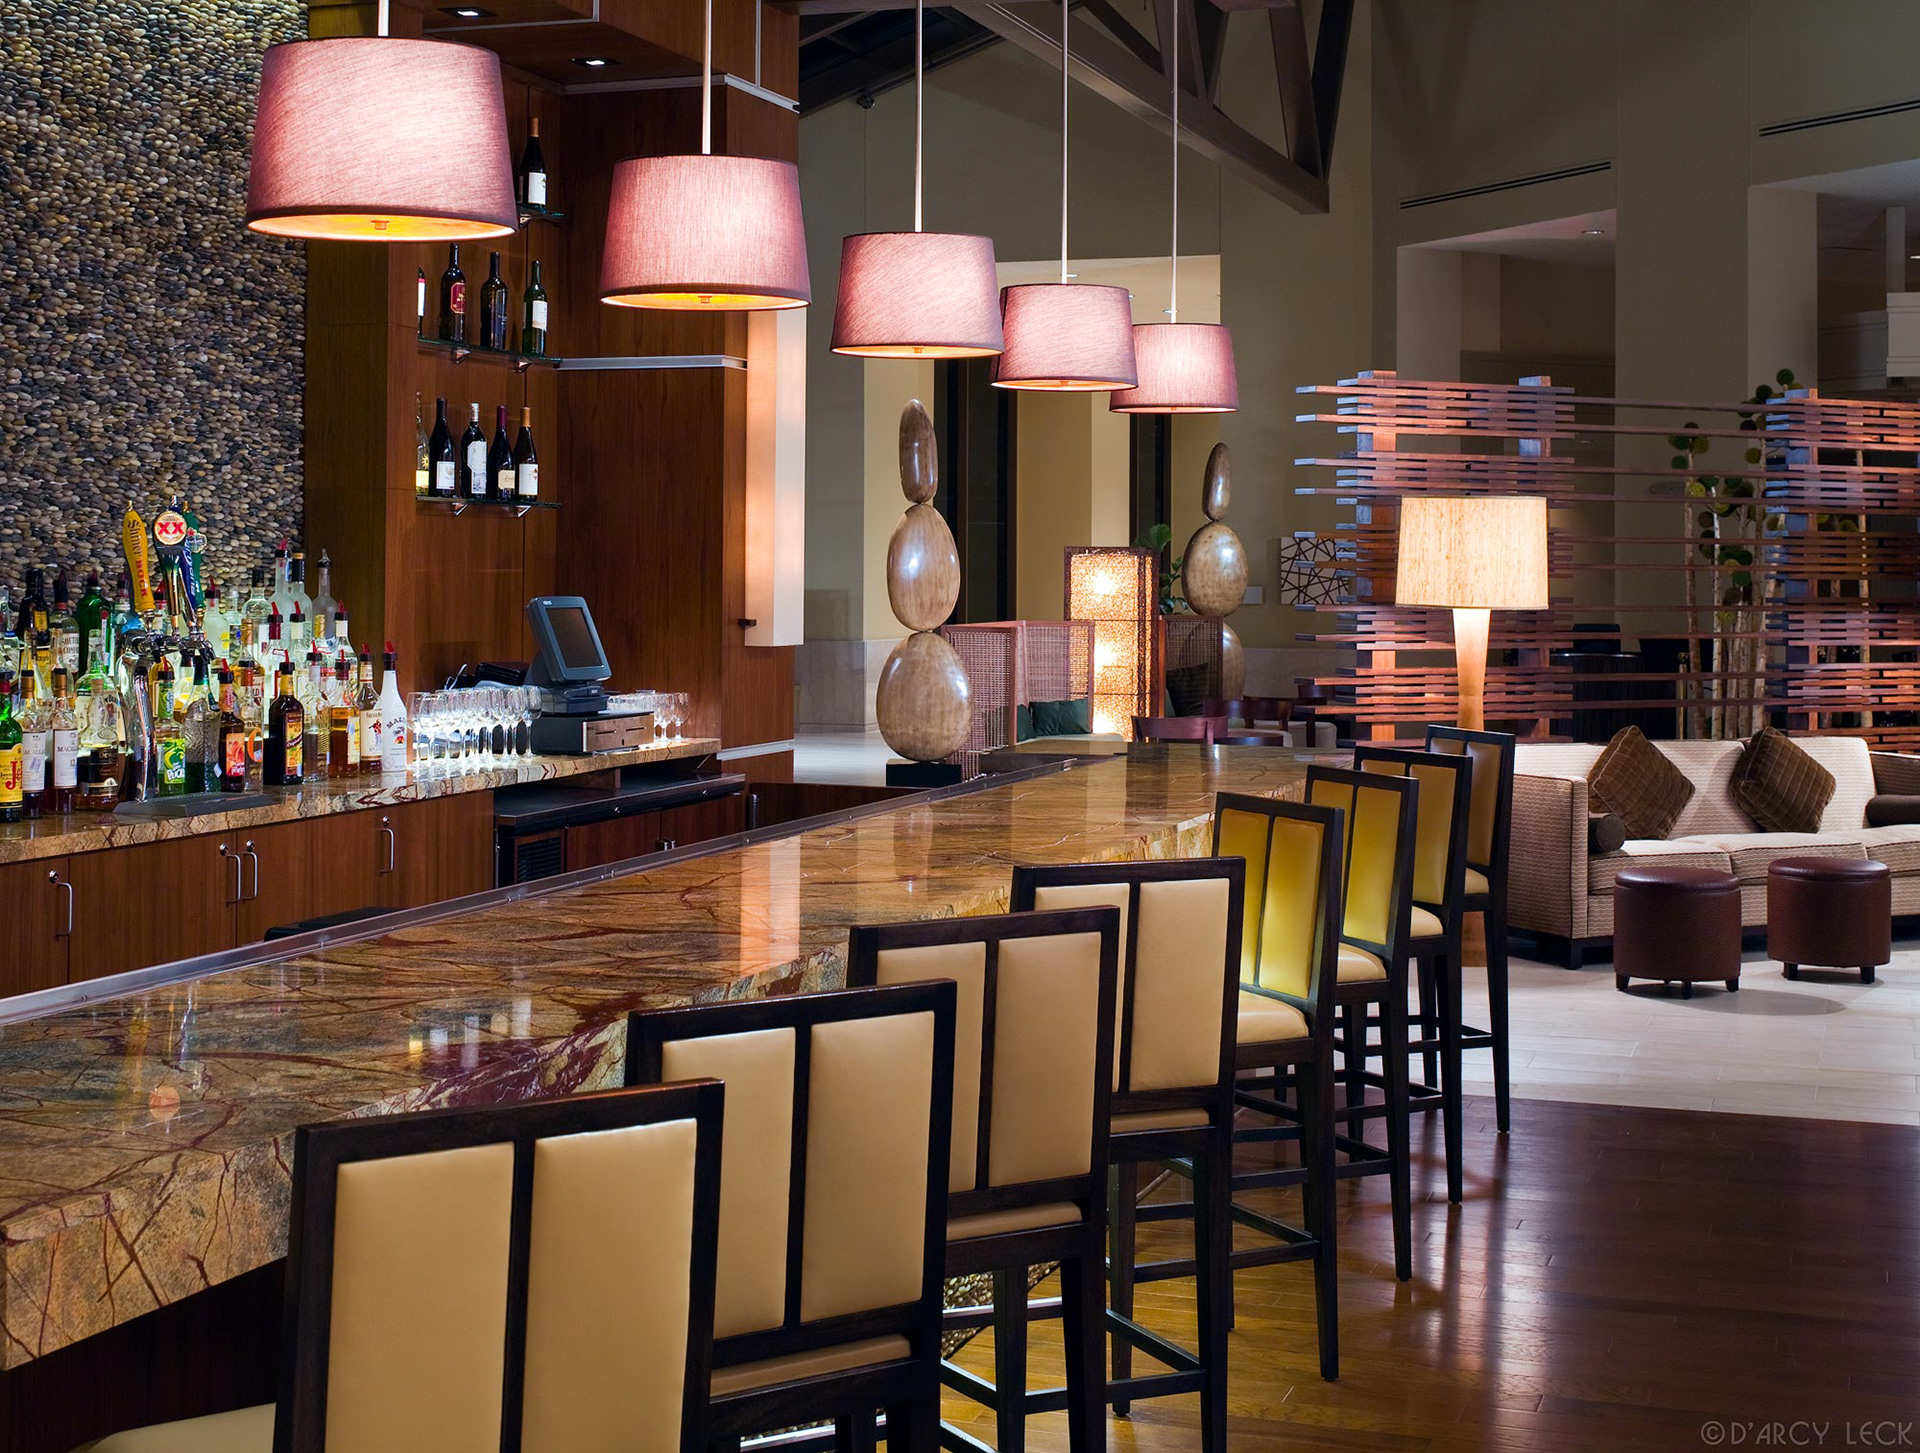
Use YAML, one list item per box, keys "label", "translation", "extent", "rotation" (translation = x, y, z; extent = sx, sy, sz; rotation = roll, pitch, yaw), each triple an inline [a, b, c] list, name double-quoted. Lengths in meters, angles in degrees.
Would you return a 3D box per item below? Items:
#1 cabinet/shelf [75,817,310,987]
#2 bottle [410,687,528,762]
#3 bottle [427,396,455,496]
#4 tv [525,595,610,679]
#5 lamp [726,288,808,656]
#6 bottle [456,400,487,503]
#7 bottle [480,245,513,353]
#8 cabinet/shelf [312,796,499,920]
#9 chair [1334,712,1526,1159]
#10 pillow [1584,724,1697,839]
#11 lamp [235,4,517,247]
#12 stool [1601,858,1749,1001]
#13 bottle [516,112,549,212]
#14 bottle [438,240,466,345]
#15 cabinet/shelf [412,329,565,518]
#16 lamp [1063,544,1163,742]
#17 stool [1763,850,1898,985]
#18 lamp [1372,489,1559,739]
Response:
- label: "cabinet/shelf"
  translation: [-2.225, 0.451, 5.306]
  extent: [0.263, 0.342, 0.932]
  rotation: [7, -6, -15]
- label: "bottle"
  translation: [-1.715, -0.005, 6.451]
  extent: [0.160, 0.260, 0.574]
  rotation: [3, 6, 21]
- label: "bottle"
  translation: [-1.995, -1.064, 7.030]
  extent: [0.105, 0.374, 0.329]
  rotation: [-1, 6, -16]
- label: "tv"
  translation: [-1.436, -0.313, 6.720]
  extent: [0.221, 0.298, 0.278]
  rotation: [6, 7, 42]
- label: "lamp"
  translation: [-0.795, -1.131, 8.255]
  extent: [0.119, 1.258, 0.472]
  rotation: [3, 14, 18]
- label: "bottle"
  translation: [-1.922, -1.086, 7.235]
  extent: [0.104, 0.386, 0.359]
  rotation: [-1, 5, -15]
- label: "bottle"
  translation: [-1.864, -1.697, 7.330]
  extent: [0.121, 0.420, 0.406]
  rotation: [0, 5, -15]
- label: "cabinet/shelf"
  translation: [-1.761, 0.349, 5.964]
  extent: [0.521, 0.376, 0.292]
  rotation: [-14, 29, -31]
- label: "chair"
  translation: [1.147, 0.617, 5.183]
  extent: [0.652, 1.059, 0.677]
  rotation: [-2, 3, -22]
- label: "pillow"
  translation: [3.200, 0.279, 8.622]
  extent: [0.750, 0.496, 0.285]
  rotation: [-3, 7, -38]
- label: "lamp"
  translation: [-0.995, -0.966, 3.290]
  extent: [0.417, 0.519, 0.448]
  rotation: [0, -1, -3]
- label: "stool"
  translation: [3.043, 0.861, 7.859]
  extent: [0.483, 0.577, 0.515]
  rotation: [-1, 1, -3]
- label: "bottle"
  translation: [-1.749, -2.291, 7.469]
  extent: [0.116, 0.452, 0.398]
  rotation: [0, 5, -14]
- label: "bottle"
  translation: [-1.948, -1.645, 7.044]
  extent: [0.123, 0.417, 0.351]
  rotation: [-1, 6, -16]
- label: "cabinet/shelf"
  translation: [-1.975, -1.232, 7.339]
  extent: [0.240, 0.670, 0.703]
  rotation: [12, 13, 38]
- label: "lamp"
  translation: [1.030, -0.573, 12.175]
  extent: [0.637, 1.214, 0.514]
  rotation: [1, 5, 4]
- label: "stool"
  translation: [3.885, 0.837, 8.118]
  extent: [0.491, 0.578, 0.527]
  rotation: [-5, 7, -4]
- label: "lamp"
  translation: [2.215, -0.397, 7.802]
  extent: [0.682, 1.210, 0.688]
  rotation: [1, 0, -37]
